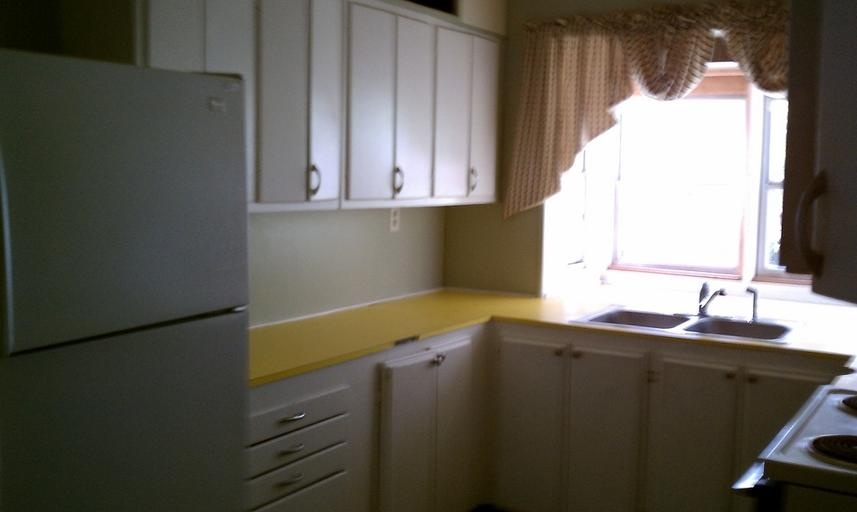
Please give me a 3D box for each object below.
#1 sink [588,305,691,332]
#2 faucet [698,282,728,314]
[{"bbox_3d":[1.259,0.378,3.884,0.305,0.100,0.238,0,7,9],"label":"sink"},{"bbox_3d":[1.660,0.228,3.915,0.184,0.246,0.248,7,2,19],"label":"faucet"}]
